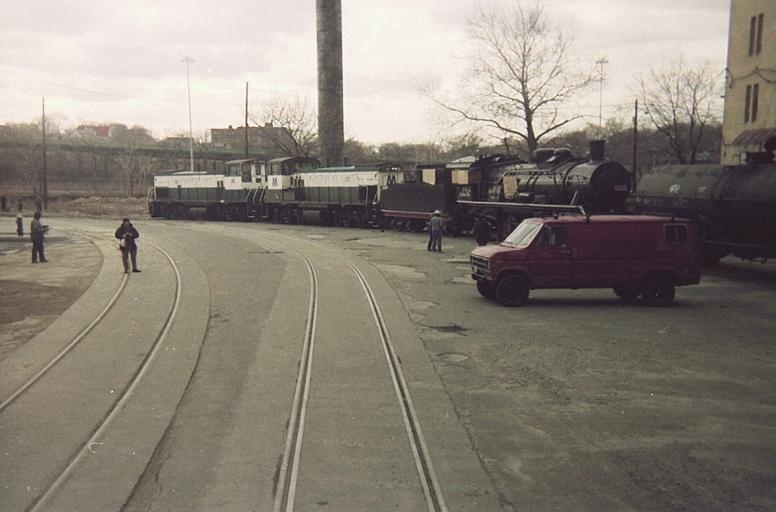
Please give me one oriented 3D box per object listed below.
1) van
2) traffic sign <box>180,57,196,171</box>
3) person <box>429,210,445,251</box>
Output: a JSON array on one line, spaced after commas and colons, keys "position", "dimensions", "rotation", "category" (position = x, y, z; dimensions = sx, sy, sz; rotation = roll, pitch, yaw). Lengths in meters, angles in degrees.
[{"position": [6.499, 0.028, 24.405], "dimensions": [5.907, 2.703, 3.171], "rotation": [1, 0, 2], "category": "van"}, {"position": [-5.050, -3.850, 18.934], "dimensions": [0.409, 2.762, 0.420], "rotation": [-9, 28, -27], "category": "traffic sign"}, {"position": [2.323, -1.163, 35.405], "dimensions": [0.574, 1.950, 1.520], "rotation": [1, 8, 3], "category": "person"}]
